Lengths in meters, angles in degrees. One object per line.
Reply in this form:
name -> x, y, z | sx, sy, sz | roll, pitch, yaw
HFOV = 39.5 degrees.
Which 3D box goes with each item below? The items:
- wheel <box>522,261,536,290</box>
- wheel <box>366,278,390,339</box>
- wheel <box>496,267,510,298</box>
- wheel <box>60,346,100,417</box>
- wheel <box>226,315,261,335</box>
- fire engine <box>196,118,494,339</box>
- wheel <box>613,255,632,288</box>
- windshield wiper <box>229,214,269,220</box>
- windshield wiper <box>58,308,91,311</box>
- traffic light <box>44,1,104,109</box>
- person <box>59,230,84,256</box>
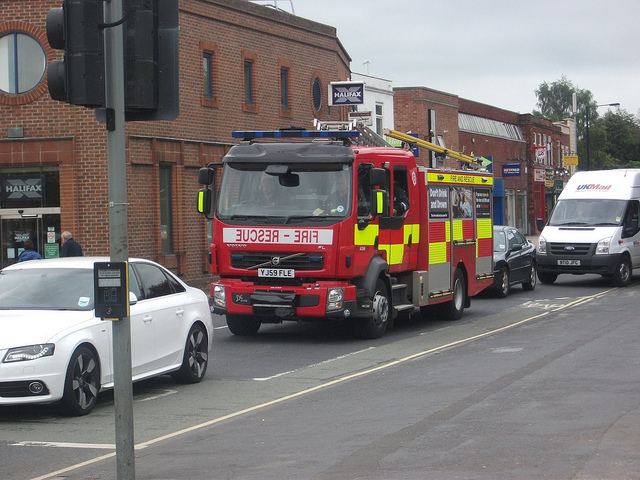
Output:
wheel -> 5.805, 0.994, 24.943 | 0.239, 0.791, 0.762 | 0, 5, 24
wheel -> 1.039, 1.241, 16.436 | 0.283, 1.055, 1.018 | 0, -6, 14
wheel -> 4.705, 1.088, 23.139 | 0.243, 0.792, 0.763 | -3, 1, 28
wheel -> -2.902, 1.702, 10.744 | 0.173, 0.857, 0.649 | 0, 2, 24
wheel -> -1.480, 1.628, 17.182 | 0.457, 0.481, 0.177 | -8, 6, -42
fire engine -> 1.412, -0.354, 18.622 | 2.866, 4.291, 7.950 | 1, 2, 39
wheel -> 8.654, 0.903, 25.699 | 0.299, 0.993, 0.827 | -5, -1, 39
windshield wiper -> -1.294, -0.423, 16.095 | 0.759, 0.090, 0.094 | 0, 2, 29
windshield wiper -> -3.030, 0.868, 11.042 | 0.338, 0.025, 0.071 | -2, 2, -14
traffic light -> -2.035, -1.538, 7.378 | 0.569, 0.887, 0.266 | 1, 3, 43
person -> -5.767, 0.089, 20.622 | 0.427, 0.549, 0.796 | -2, 2, -17
